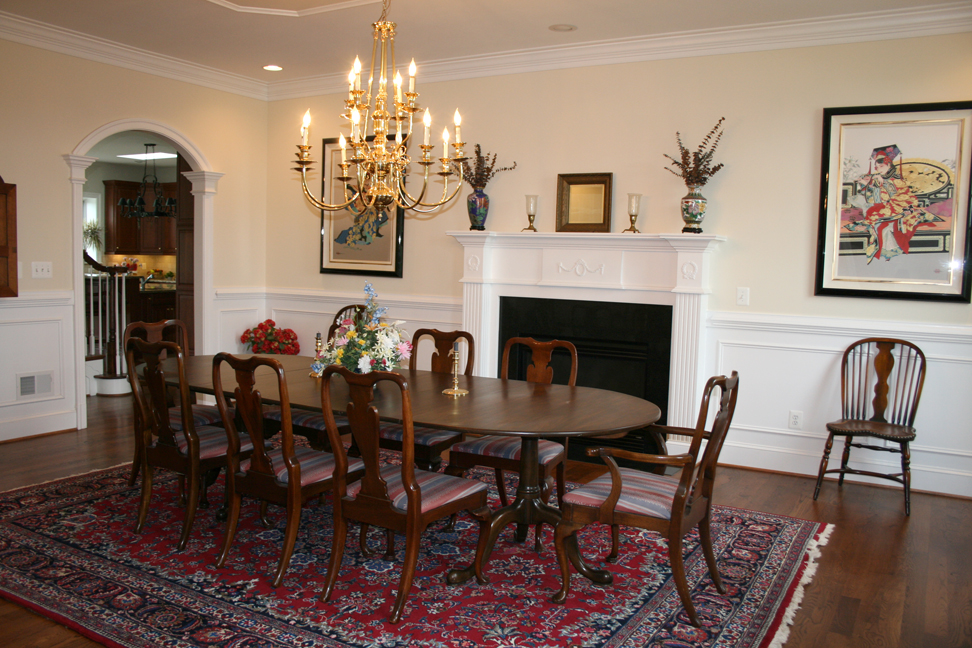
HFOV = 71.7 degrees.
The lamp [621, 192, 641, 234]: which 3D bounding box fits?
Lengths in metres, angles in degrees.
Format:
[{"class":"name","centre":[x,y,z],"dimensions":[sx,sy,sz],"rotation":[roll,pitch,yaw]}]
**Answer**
[{"class":"lamp","centre":[1.352,-1.018,6.169],"dimensions":[0.152,0.335,0.158],"rotation":[1,12,0]}]

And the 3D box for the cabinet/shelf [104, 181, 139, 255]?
[{"class":"cabinet/shelf","centre":[-6.498,-1.896,11.961],"dimensions":[0.616,1.263,0.372],"rotation":[-5,14,-26]}]

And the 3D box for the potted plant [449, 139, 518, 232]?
[{"class":"potted plant","centre":[-0.085,-1.326,6.677],"dimensions":[0.518,0.812,0.629],"rotation":[-6,-7,35]}]

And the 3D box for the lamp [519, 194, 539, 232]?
[{"class":"lamp","centre":[0.435,-1.076,6.525],"dimensions":[0.141,0.338,0.173],"rotation":[2,12,2]}]

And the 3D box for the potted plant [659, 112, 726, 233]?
[{"class":"potted plant","centre":[1.894,-1.335,5.987],"dimensions":[0.433,1.009,0.496],"rotation":[-2,13,-15]}]

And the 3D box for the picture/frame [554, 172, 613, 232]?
[{"class":"picture/frame","centre":[0.949,-1.156,6.372],"dimensions":[0.613,0.602,0.073],"rotation":[2,4,23]}]

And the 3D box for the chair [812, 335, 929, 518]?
[{"class":"chair","centre":[3.115,0.768,5.386],"dimensions":[0.658,1.256,0.742],"rotation":[9,14,31]}]

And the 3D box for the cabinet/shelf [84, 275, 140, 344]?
[{"class":"cabinet/shelf","centre":[-5.331,-0.174,9.413],"dimensions":[0.870,0.927,0.851],"rotation":[-7,-5,41]}]

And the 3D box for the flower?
[{"class":"flower","centre":[-0.869,0.120,4.836],"dimensions":[0.616,0.653,0.616],"rotation":[1,3,-5]}]
